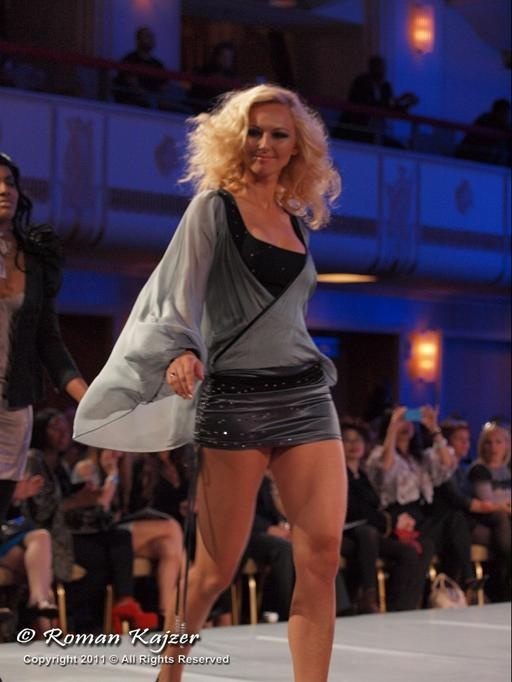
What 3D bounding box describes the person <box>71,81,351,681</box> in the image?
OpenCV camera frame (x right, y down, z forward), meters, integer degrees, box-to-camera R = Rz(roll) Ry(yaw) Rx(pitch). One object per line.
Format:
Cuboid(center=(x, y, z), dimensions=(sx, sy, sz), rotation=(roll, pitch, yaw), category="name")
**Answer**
Cuboid(center=(-0.090, 0.080, 2.618), dimensions=(0.681, 1.484, 0.451), rotation=(1, -2, -11), category="person")
